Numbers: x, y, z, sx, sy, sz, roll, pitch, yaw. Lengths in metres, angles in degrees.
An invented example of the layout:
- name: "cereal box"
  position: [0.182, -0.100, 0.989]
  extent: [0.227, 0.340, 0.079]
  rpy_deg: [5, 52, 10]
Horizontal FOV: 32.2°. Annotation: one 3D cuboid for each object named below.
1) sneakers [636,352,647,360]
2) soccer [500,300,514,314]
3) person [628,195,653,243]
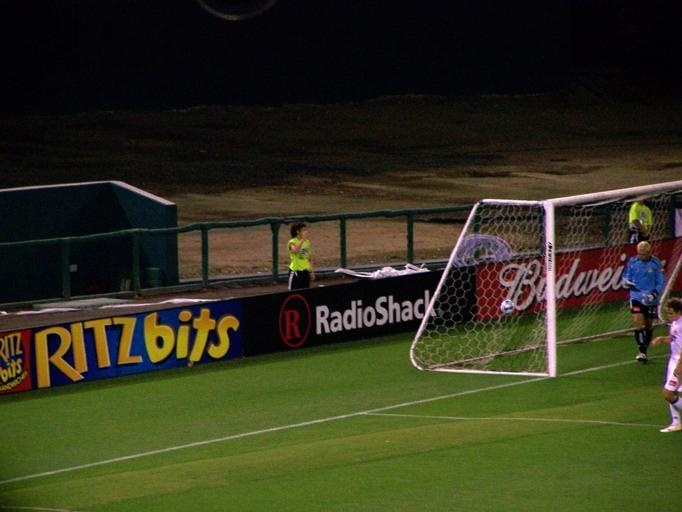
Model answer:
- name: "sneakers"
  position: [6.172, 2.069, 24.343]
  extent: [0.116, 0.100, 0.292]
  rpy_deg: [3, 6, 26]
- name: "soccer"
  position: [3.449, 1.052, 24.575]
  extent: [0.368, 0.266, 0.397]
  rpy_deg: [6, -7, 6]
- name: "person"
  position: [7.129, -0.839, 28.212]
  extent: [0.515, 1.099, 1.097]
  rpy_deg: [0, -4, 13]
